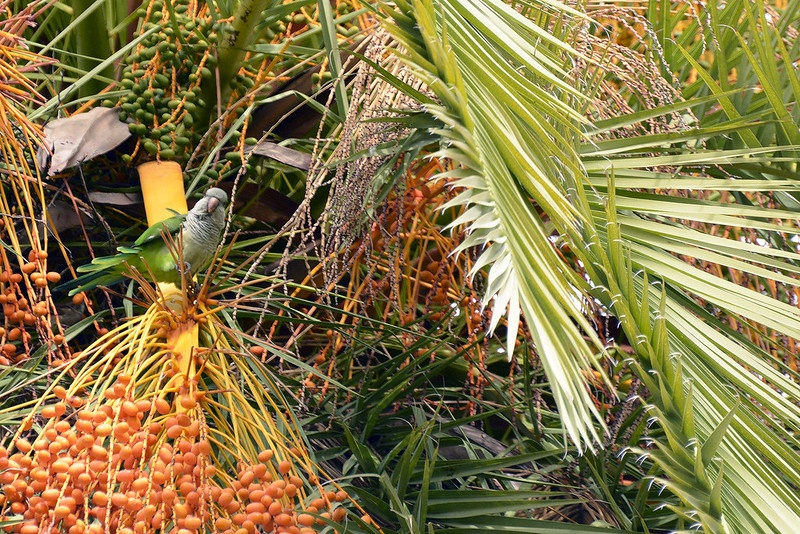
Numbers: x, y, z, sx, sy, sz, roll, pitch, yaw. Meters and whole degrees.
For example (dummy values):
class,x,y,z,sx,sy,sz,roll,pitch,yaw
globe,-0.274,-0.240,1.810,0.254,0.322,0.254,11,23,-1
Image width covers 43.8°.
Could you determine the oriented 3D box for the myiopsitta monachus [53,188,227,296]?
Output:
class,x,y,z,sx,sy,sz,roll,pitch,yaw
myiopsitta monachus,-0.618,-0.059,2.457,0.407,0.272,0.127,-4,-11,16
